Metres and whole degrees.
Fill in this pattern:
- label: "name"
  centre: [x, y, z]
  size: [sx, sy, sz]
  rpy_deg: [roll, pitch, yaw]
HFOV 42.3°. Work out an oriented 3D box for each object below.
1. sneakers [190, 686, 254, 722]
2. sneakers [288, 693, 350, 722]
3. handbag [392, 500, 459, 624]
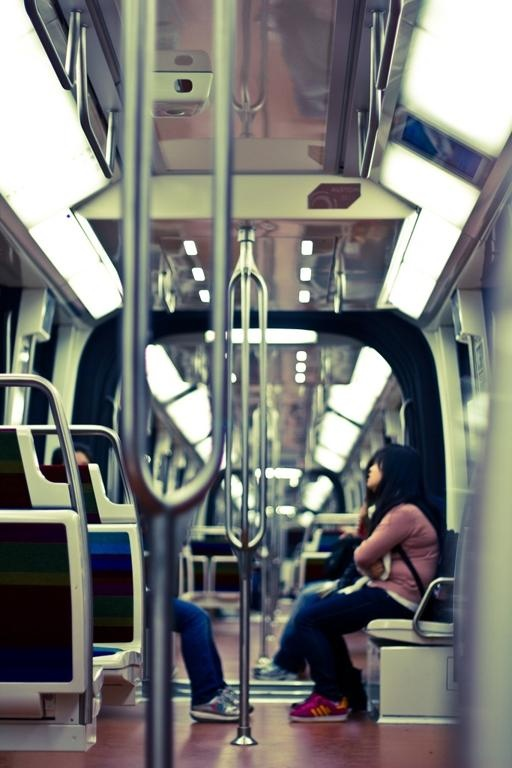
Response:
- label: "sneakers"
  centre: [-0.166, 1.522, 3.189]
  size: [0.351, 0.203, 0.145]
  rpy_deg: [9, -18, -14]
- label: "sneakers"
  centre: [0.303, 1.522, 3.156]
  size: [0.312, 0.170, 0.116]
  rpy_deg: [5, -16, -2]
- label: "handbag"
  centre: [0.817, 0.958, 3.391]
  size: [0.337, 0.613, 0.311]
  rpy_deg: [2, -9, -1]
